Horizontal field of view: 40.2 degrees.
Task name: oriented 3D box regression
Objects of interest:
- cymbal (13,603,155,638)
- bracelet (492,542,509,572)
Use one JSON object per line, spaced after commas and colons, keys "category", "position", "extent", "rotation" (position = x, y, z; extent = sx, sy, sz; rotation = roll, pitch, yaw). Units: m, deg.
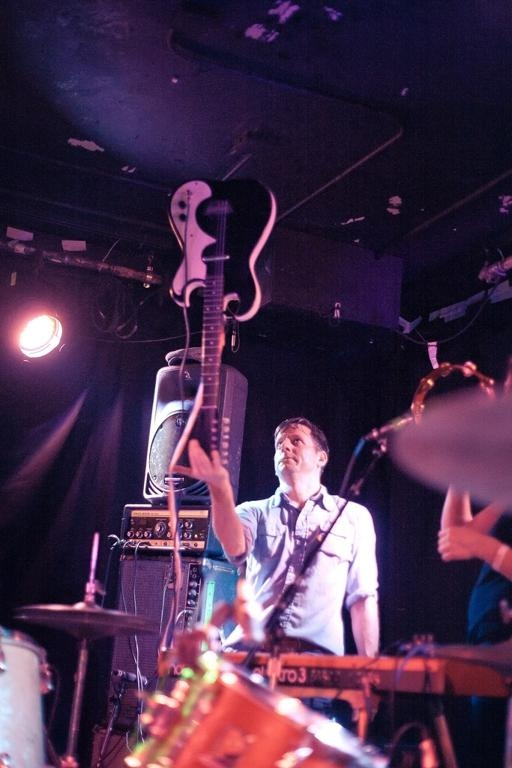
{"category": "cymbal", "position": [-0.631, 0.875, 2.582], "extent": [0.324, 0.122, 0.339], "rotation": [-9, -33, 32]}
{"category": "bracelet", "position": [0.689, 0.490, 1.973], "extent": [0.017, 0.073, 0.052], "rotation": [16, 7, 12]}
